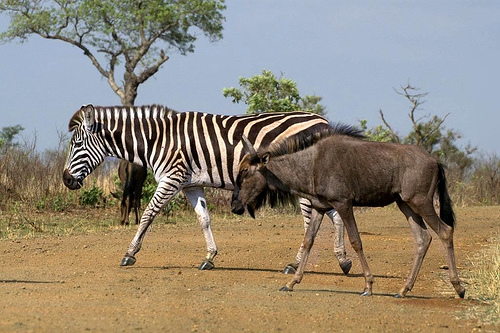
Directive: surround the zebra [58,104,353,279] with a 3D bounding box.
[{"bbox_3d":[-1.129,0.410,15.777,6.441,3.869,1.744,-1,2,2],"label":"zebra"}]
